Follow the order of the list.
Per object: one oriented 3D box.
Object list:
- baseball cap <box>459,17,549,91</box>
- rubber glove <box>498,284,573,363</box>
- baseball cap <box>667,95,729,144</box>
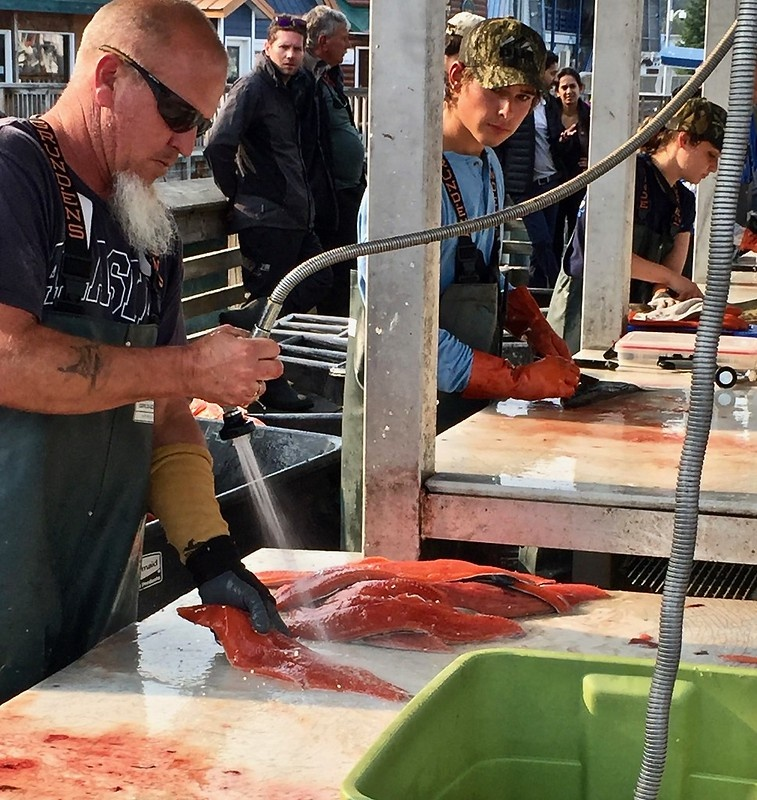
[{"bbox_3d":[0.415,-1.144,3.089,0.292,0.312,0.348,1,6,6],"label":"baseball cap"},{"bbox_3d":[0.616,-0.298,3.811,0.161,0.159,0.509,-21,38,-11],"label":"rubber glove"},{"bbox_3d":[1.578,-1.383,4.655,0.390,0.172,0.266,12,6,39],"label":"baseball cap"}]
